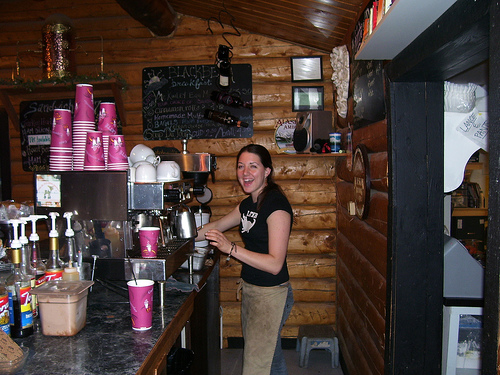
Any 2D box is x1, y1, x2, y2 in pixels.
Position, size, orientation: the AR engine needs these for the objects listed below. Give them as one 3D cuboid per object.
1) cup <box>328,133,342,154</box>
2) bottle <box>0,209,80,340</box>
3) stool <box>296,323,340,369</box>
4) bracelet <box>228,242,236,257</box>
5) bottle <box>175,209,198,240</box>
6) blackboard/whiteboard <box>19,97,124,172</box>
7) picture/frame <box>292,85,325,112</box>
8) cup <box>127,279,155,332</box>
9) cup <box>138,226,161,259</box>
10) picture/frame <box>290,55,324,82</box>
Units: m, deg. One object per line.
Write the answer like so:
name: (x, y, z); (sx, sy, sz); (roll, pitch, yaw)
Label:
cup: (0.735, -0.378, 3.903); (0.105, 0.174, 0.184); (1, 1, 10)
bottle: (-0.951, 0.421, 2.230); (0.365, 0.550, 0.301); (1, 1, -6)
stool: (0.632, 1.453, 4.240); (0.365, 0.250, 0.493); (1, 2, 6)
bracelet: (-0.107, 0.398, 2.886); (0.055, 0.087, 0.023); (-4, -28, 15)
bottle: (-0.390, 0.229, 2.850); (0.145, 0.180, 0.079); (0, 1, -24)
blackboard/whiteboard: (-1.261, -0.399, 3.231); (0.799, 0.551, 0.039); (-2, -3, -1)
picture/frame: (0.564, -0.865, 4.396); (0.318, 0.241, 0.035); (0, 2, 1)
cup: (-0.536, 0.573, 2.230); (0.119, 0.238, 0.106); (1, 1, -16)
cup: (-0.549, 0.296, 2.478); (0.103, 0.156, 0.147); (1, 1, -15)
picture/frame: (0.548, -1.155, 4.379); (0.249, 0.188, 0.034); (0, 0, 1)
